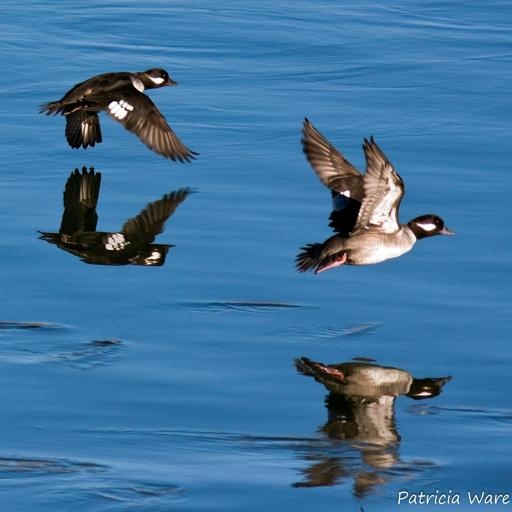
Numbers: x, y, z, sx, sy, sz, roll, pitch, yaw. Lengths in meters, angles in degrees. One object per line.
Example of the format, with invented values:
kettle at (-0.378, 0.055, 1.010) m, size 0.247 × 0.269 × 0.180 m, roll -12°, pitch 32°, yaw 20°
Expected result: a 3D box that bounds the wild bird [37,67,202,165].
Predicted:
wild bird at (-1.639, -1.932, 11.623) m, size 1.815 × 0.809 × 2.057 m, roll -10°, pitch 48°, yaw -3°
